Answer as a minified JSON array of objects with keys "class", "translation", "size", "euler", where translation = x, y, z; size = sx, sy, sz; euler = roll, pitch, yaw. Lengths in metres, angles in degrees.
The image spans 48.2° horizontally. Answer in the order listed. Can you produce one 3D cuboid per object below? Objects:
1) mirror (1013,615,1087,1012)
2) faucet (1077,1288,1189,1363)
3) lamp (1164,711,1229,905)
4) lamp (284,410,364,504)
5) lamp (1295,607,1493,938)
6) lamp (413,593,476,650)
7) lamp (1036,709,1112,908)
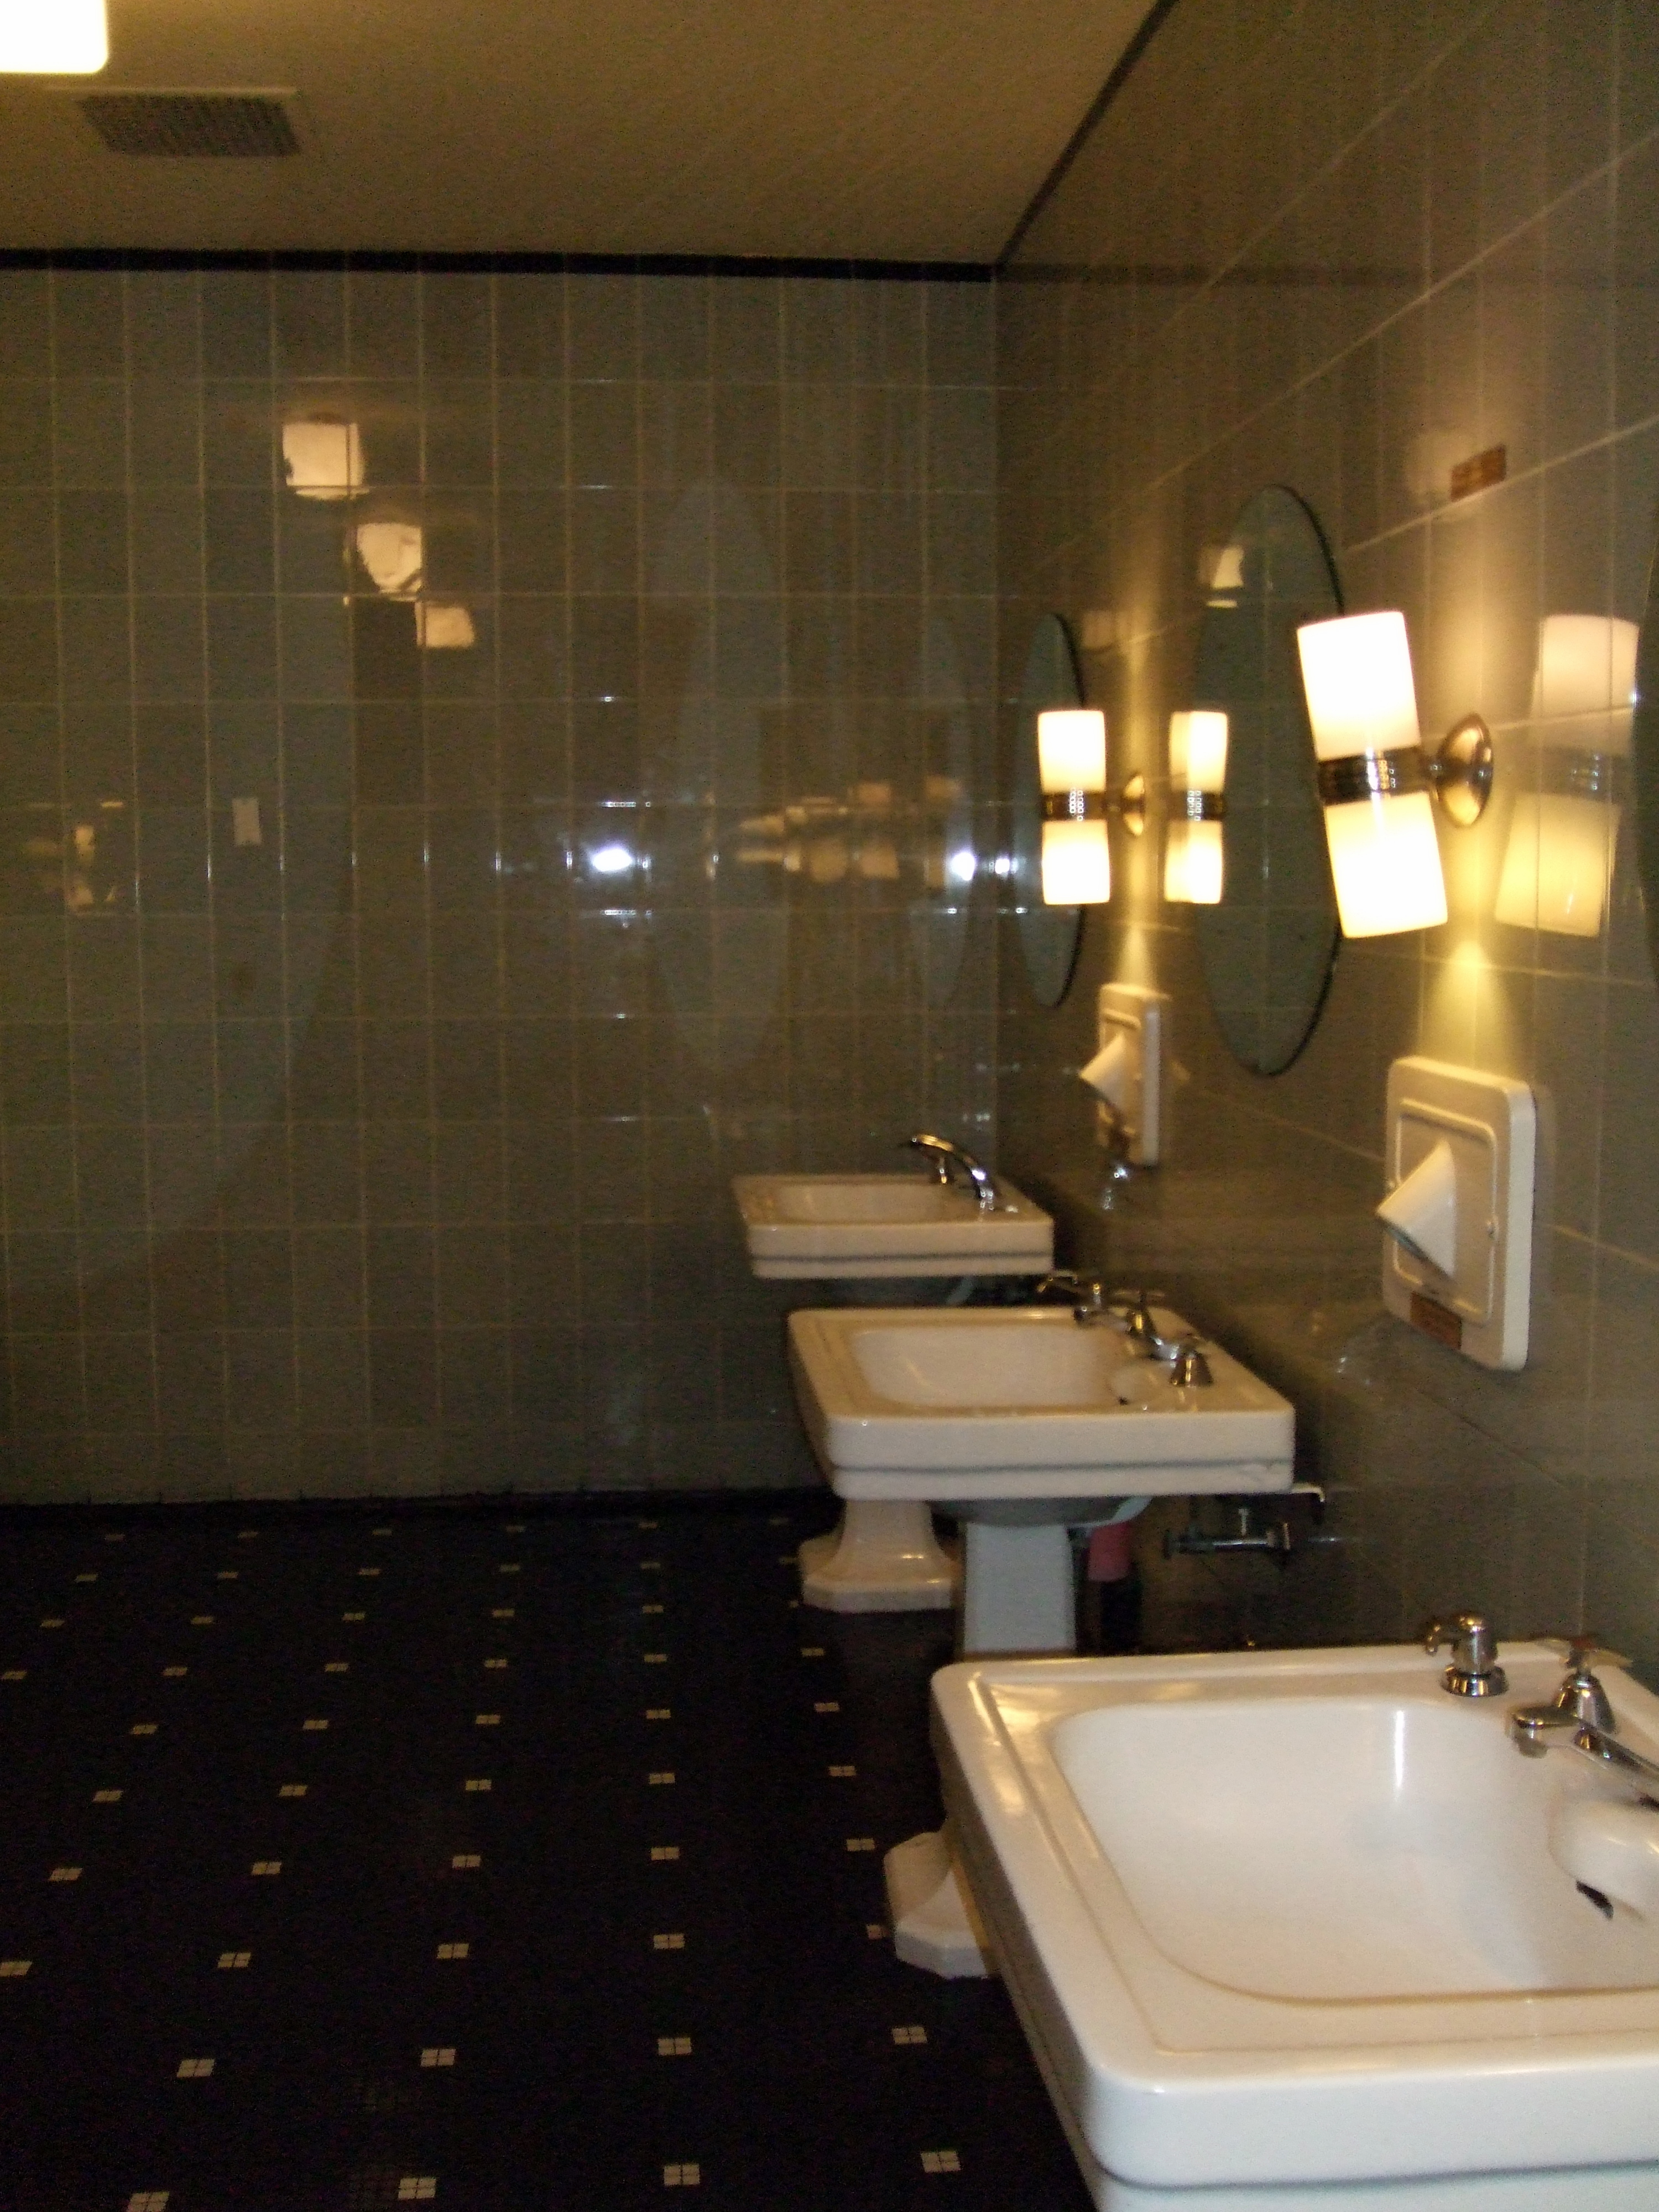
[{"class":"mirror","translation":[0.447,-0.583,3.674],"size":[0.026,0.788,0.202],"euler":[-4,7,-31]},{"class":"faucet","translation":[0.426,0.297,2.487],"size":[0.059,0.082,0.233],"euler":[-1,6,-6]},{"class":"lamp","translation":[0.518,-0.425,2.646],"size":[0.088,0.275,0.074],"euler":[0,6,-14]},{"class":"lamp","translation":[-1.107,-1.403,4.039],"size":[0.163,0.176,0.183],"euler":[6,18,21]},{"class":"lamp","translation":[0.532,-0.305,1.743],"size":[0.158,0.285,0.110],"euler":[-8,1,-5]},{"class":"lamp","translation":[-0.850,-1.055,4.073],"size":[0.117,0.106,0.112],"euler":[4,5,-10]},{"class":"lamp","translation":[0.428,-0.520,3.199],"size":[0.149,0.337,0.242],"euler":[6,5,3]}]
